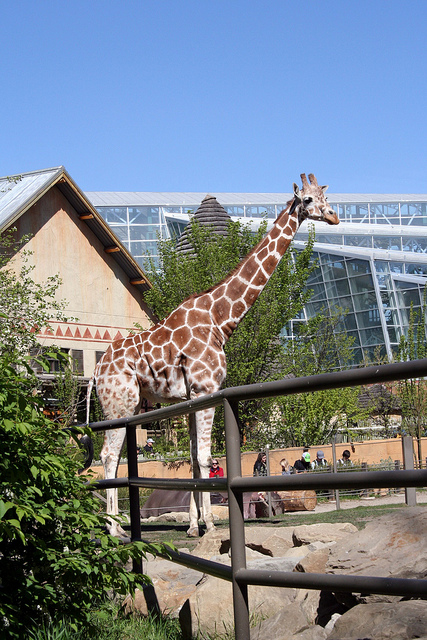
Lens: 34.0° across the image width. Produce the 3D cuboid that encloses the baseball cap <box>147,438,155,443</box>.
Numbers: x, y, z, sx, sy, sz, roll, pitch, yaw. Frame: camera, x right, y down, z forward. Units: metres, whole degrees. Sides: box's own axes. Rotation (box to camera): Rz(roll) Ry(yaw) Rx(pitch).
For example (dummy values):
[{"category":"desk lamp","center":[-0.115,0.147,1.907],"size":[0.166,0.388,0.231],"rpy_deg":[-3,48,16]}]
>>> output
[{"category":"baseball cap","center":[-2.097,4.062,23.408],"size":[0.354,0.150,0.441],"rpy_deg":[0,-18,-5]}]

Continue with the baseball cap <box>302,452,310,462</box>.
[{"category":"baseball cap","center":[2.245,3.262,16.644],"size":[0.155,0.220,0.128],"rpy_deg":[1,-40,-19]}]

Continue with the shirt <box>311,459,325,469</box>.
[{"category":"shirt","center":[2.668,3.640,17.606],"size":[0.315,0.281,0.122],"rpy_deg":[0,-14,5]}]

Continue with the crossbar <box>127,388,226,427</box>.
[{"category":"crossbar","center":[-0.184,0.375,2.888],"size":[0.229,0.090,1.241],"rpy_deg":[-4,-8,-12]}]

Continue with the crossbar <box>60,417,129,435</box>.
[{"category":"crossbar","center":[-0.613,0.567,3.703],"size":[0.323,0.063,0.677],"rpy_deg":[-4,-8,-9]}]
